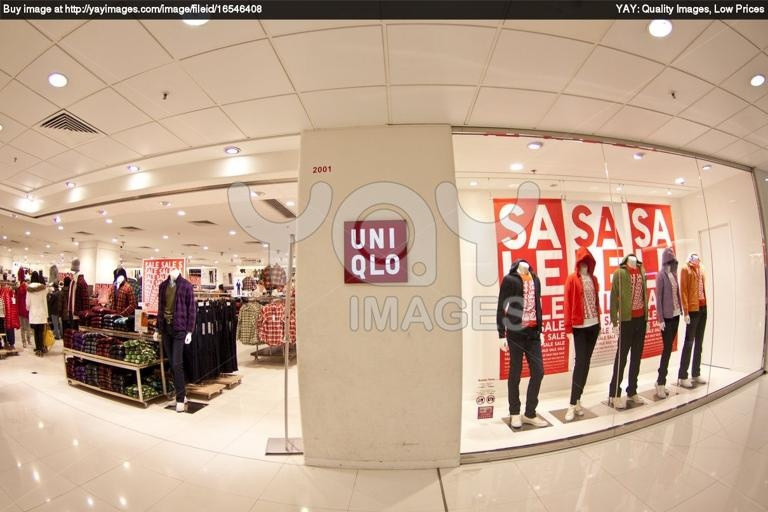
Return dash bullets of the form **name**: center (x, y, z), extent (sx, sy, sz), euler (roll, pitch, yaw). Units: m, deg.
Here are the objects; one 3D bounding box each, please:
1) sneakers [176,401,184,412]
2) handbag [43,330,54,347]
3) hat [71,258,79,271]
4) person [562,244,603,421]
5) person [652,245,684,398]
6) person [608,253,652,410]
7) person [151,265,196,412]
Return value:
- **sneakers**: center (-2.944, 2.194, 6.659), extent (0.112, 0.138, 0.096), euler (0, -4, -29)
- **handbag**: center (-6.576, 1.615, 8.994), extent (0.165, 0.334, 0.339), euler (0, -11, -12)
- **hat**: center (-5.928, 0.174, 8.841), extent (0.093, 0.253, 0.280), euler (1, -5, -42)
- **person**: center (2.632, 1.043, 6.108), extent (0.545, 2.264, 0.154), euler (-1, -4, -10)
- **person**: center (3.949, 0.930, 6.365), extent (0.473, 2.065, 0.181), euler (-1, -4, -18)
- **person**: center (3.307, 1.014, 6.204), extent (0.639, 2.065, 0.203), euler (-1, -4, -18)
- **person**: center (-3.109, 1.232, 6.853), extent (0.535, 2.068, 0.279), euler (-3, -4, 23)
